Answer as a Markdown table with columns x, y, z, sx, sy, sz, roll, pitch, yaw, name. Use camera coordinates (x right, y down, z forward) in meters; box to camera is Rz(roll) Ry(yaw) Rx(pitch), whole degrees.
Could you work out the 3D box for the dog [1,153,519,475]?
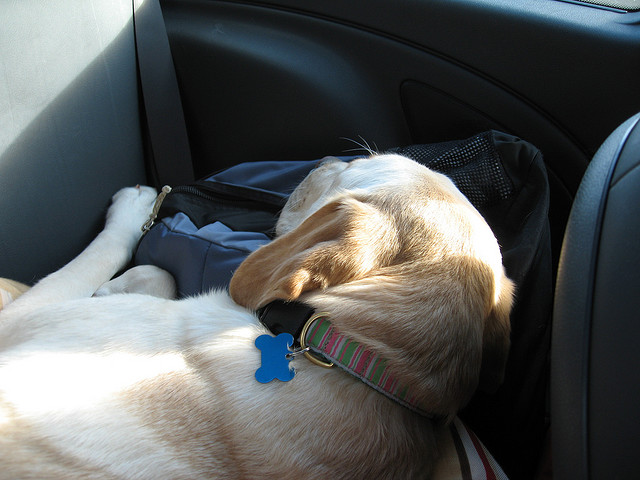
| x | y | z | sx | sy | sz | roll | pitch | yaw | name |
| --- | --- | --- | --- | --- | --- | --- | --- | --- | --- |
| -0.227 | 0.179 | 1.314 | 1.258 | 0.806 | 0.492 | -6 | 92 | 8 | dog |
